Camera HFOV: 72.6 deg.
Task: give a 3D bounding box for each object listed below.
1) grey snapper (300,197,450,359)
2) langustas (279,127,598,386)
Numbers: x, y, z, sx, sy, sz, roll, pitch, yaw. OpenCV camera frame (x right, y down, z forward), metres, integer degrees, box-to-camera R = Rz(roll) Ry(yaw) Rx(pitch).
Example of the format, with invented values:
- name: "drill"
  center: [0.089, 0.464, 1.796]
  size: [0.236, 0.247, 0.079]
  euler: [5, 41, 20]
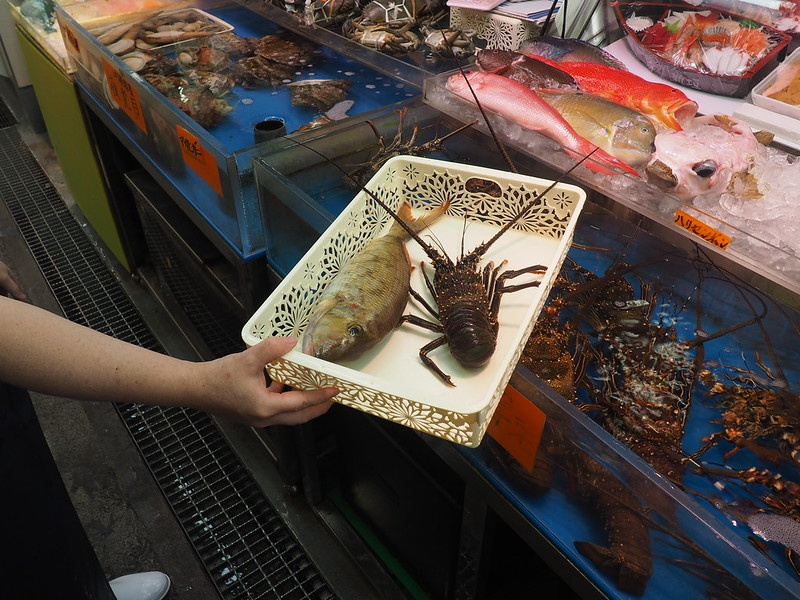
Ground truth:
- name: "grey snapper"
  center: [-0.021, -0.045, 1.257]
  size: [0.119, 0.167, 0.512]
  euler: [25, 53, 8]
- name: "langustas"
  center: [0.136, -0.006, 1.258]
  size: [0.669, 0.188, 0.503]
  euler: [-6, 58, -7]
